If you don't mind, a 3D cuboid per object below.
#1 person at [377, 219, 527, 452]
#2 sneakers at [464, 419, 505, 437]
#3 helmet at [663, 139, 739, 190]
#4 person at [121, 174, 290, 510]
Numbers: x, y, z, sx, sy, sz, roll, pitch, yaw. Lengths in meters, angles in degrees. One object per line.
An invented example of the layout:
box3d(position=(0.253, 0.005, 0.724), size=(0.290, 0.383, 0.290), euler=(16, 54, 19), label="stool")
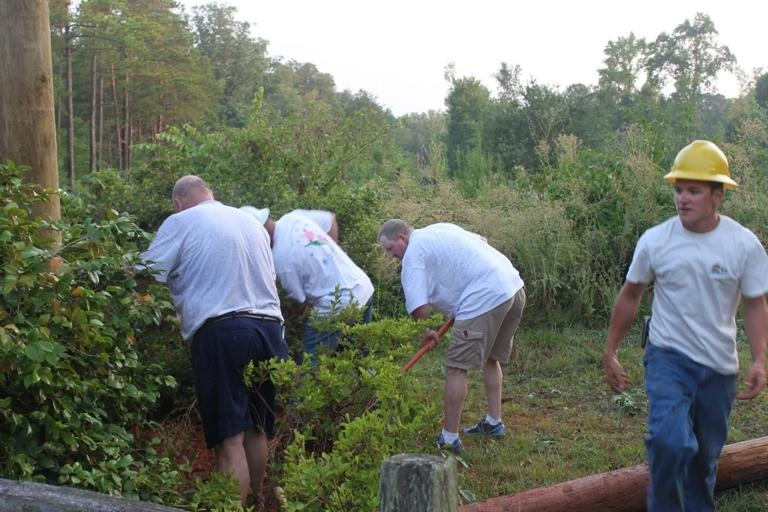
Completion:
box3d(position=(0.875, 0.842, 9.177), size=(1.345, 2.435, 0.627), euler=(0, -1, -20), label="person")
box3d(position=(1.138, 1.901, 9.509), size=(0.496, 0.239, 0.185), euler=(2, -5, 2), label="sneakers")
box3d(position=(2.965, -0.833, 7.805), size=(0.539, 0.292, 0.448), euler=(0, 8, -45), label="helmet")
box3d(position=(-1.550, 0.790, 8.120), size=(1.098, 3.057, 0.690), euler=(0, -1, 8), label="person")
